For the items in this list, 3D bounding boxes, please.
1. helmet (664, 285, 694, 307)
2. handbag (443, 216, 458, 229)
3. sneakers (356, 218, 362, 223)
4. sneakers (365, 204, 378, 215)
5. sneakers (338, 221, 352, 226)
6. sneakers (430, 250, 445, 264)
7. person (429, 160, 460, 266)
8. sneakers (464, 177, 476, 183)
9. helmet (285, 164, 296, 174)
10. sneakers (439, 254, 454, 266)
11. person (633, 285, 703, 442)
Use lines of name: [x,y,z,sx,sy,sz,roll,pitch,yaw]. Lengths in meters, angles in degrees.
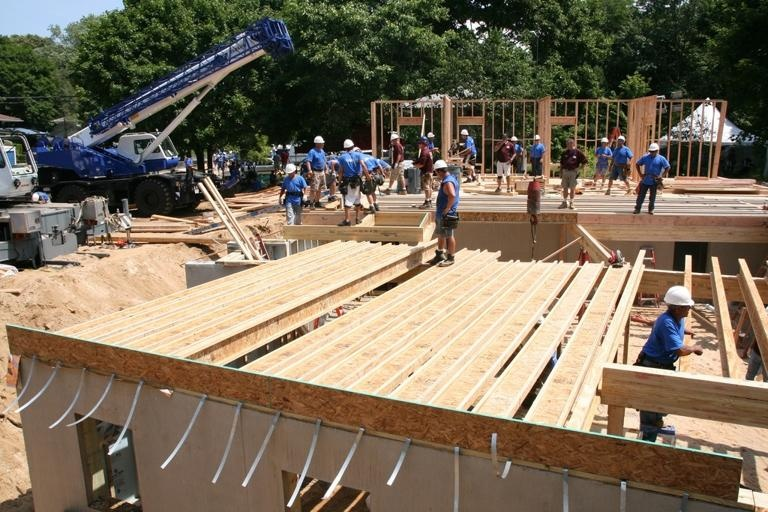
helmet: [3.981,0.566,9.272,0.305,0.210,0.359,-7,7,-42]
handbag: [1.154,-0.578,11.719,0.232,0.180,0.225,-2,11,-15]
sneakers: [-0.577,-0.791,15.214,0.139,0.106,0.075,-5,11,-3]
sneakers: [-0.265,-1.076,15.535,0.124,0.174,0.364,-2,17,-9]
sneakers: [-0.836,-0.701,14.377,0.259,0.109,0.104,2,6,10]
sneakers: [0.941,0.021,12.088,0.120,0.230,0.322,-19,-5,-40]
person: [1.062,-0.752,11.908,0.488,1.744,0.614,-4,11,4]
sneakers: [2.839,-2.526,22.473,0.143,0.192,0.445,-4,15,-5]
helmet: [-2.199,-2.050,16.029,0.310,0.164,0.333,0,31,-9]
sneakers: [1.095,0.085,11.874,0.302,0.215,0.144,1,5,10]
person: [4.029,1.573,9.691,1.045,2.594,1.076,-5,37,17]
